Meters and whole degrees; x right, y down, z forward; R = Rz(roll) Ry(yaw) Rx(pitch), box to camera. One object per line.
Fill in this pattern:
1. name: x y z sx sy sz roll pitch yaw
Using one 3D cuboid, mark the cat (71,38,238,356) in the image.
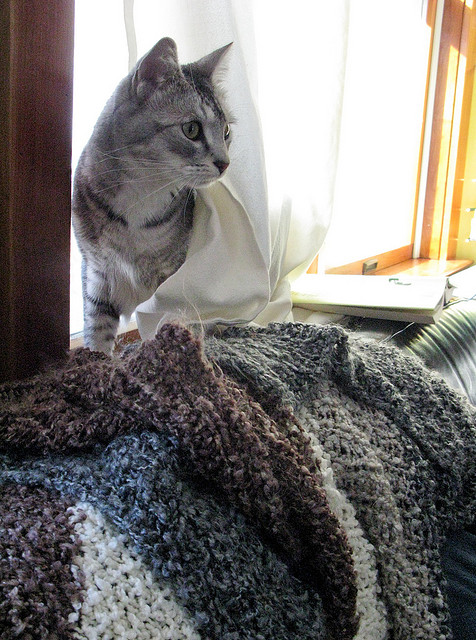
1. cat: -0.113 -0.131 0.691 0.187 0.387 0.136 17 19 39
